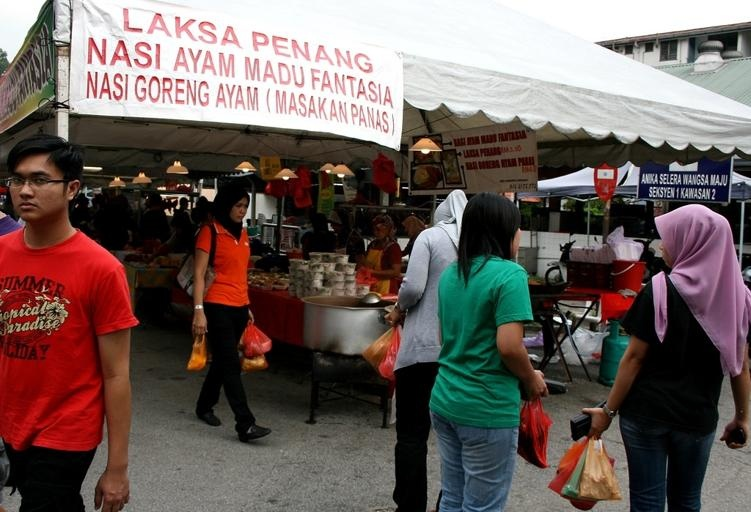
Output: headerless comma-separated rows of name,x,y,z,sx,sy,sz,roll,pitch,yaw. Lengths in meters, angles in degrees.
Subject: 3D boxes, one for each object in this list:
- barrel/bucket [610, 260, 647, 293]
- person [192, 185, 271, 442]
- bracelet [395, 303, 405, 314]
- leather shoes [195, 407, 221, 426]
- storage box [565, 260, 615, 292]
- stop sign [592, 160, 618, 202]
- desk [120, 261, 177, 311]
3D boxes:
barrel/bucket,3.026,0.238,7.687,0.389,0.292,0.377,2,1,0
person,-1.276,0.504,5.788,0.681,2.333,0.764,1,6,-14
bracelet,0.176,0.364,4.417,0.054,0.068,0.064,24,30,38
leather shoes,-1.583,1.547,6.169,0.112,0.094,0.295,-1,0,-43
storage box,2.589,0.228,7.789,0.389,0.224,0.390,3,2,33
stop sign,3.837,-1.212,10.691,0.320,0.522,0.511,5,6,21
desk,-3.330,0.324,9.564,1.032,0.731,1.018,-1,7,-22
